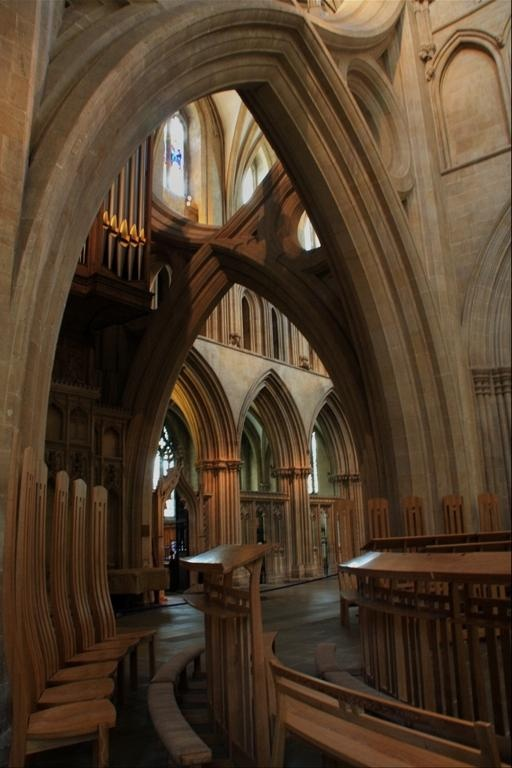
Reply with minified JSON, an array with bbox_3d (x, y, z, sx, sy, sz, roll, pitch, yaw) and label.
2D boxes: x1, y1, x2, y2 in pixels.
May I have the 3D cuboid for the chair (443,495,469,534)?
[{"bbox_3d":[2.700,1.783,7.853,0.297,0.495,0.435,-8,-12,18],"label":"chair"}]

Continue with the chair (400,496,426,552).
[{"bbox_3d":[2.118,1.783,7.712,0.276,0.490,0.252,-8,-12,15],"label":"chair"}]

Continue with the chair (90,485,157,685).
[{"bbox_3d":[-1.105,1.380,4.143,0.439,1.374,0.301,0,0,38],"label":"chair"}]
